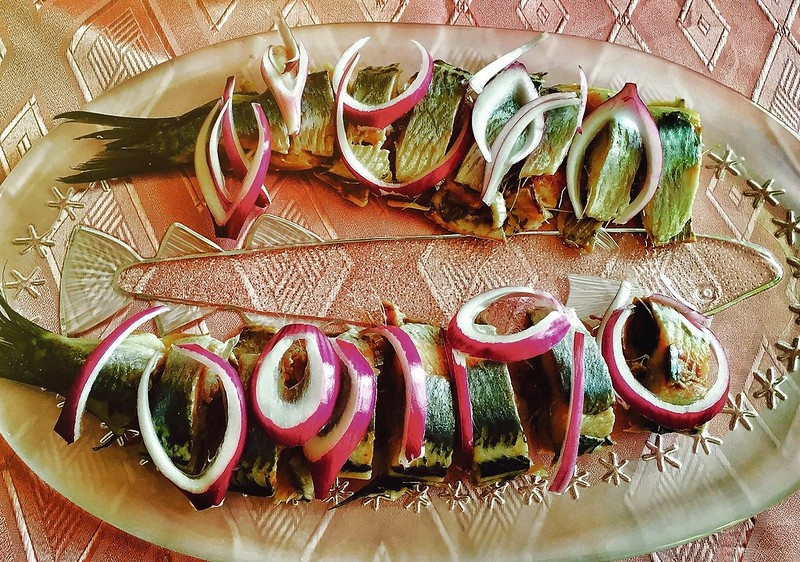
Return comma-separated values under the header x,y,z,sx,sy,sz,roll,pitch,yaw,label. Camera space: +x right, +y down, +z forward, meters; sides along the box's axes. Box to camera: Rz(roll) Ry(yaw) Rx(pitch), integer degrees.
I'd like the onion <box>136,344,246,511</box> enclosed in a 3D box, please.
x,y,z,sx,sy,sz,roll,pitch,yaw,label
-0.477,0.295,1.856,0.228,0.077,0.417,-21,79,7,onion

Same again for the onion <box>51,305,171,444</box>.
x,y,z,sx,sy,sz,roll,pitch,yaw,label
-0.710,0.224,1.988,0.072,0.195,0.374,13,74,24,onion

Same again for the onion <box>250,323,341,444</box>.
x,y,z,sx,sy,sz,roll,pitch,yaw,label
-0.245,0.241,1.887,0.227,0.079,0.247,40,74,13,onion
